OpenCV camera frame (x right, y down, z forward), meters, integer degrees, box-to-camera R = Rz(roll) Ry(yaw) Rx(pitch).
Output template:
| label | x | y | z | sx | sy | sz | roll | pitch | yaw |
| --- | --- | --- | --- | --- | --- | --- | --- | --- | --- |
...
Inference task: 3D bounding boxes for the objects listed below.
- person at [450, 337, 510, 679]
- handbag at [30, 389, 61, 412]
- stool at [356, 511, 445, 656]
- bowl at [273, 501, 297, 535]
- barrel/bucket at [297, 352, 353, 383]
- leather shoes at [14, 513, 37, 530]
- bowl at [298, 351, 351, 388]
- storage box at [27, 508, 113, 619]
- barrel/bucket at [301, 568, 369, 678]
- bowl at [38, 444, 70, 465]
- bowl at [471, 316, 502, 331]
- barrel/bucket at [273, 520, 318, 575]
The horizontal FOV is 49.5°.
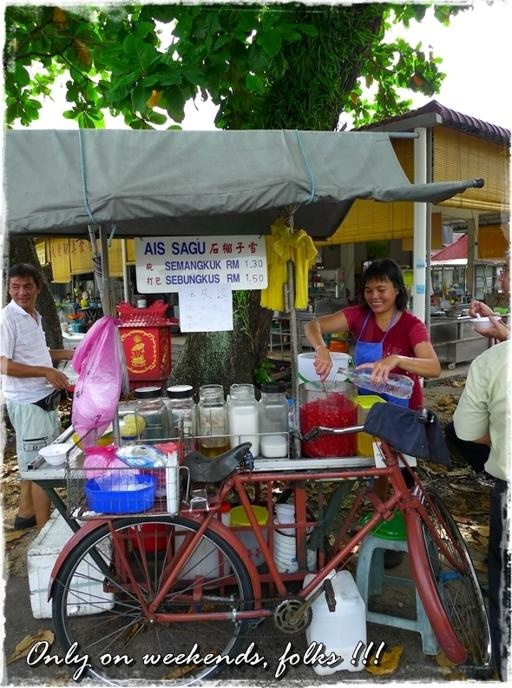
| label | x | y | z | sx | sy | sz | roll | pitch | yaw |
| --- | --- | --- | --- | --- | --- | --- | --- | --- | --- |
| person | 1.146 | 0.786 | 2.690 | 0.199 | 1.618 | 0.460 | -4 | 11 | -8 |
| handbag | -1.473 | 0.412 | 3.929 | 0.156 | 0.065 | 0.107 | -4 | 23 | -7 |
| stool | 0.818 | 1.288 | 3.115 | 0.500 | 0.583 | 0.485 | -4 | 5 | 29 |
| bowl | 0.167 | 1.018 | 3.222 | 0.143 | 0.107 | 0.150 | 0 | -2 | 0 |
| barrel/bucket | 0.429 | 0.163 | 3.706 | 0.253 | 0.240 | 0.253 | 0 | 2 | 0 |
| leather shoes | -1.824 | 1.408 | 4.389 | 0.181 | 0.063 | 0.095 | 10 | -9 | -41 |
| bowl | 0.459 | 0.175 | 3.663 | 0.263 | 0.239 | 0.238 | 0 | 5 | -5 |
| storage box | -1.120 | 1.356 | 3.334 | 0.546 | 0.368 | 0.758 | 0 | 0 | -9 |
| barrel/bucket | 0.399 | 1.442 | 2.831 | 0.319 | 0.534 | 0.569 | -2 | 2 | 3 |
| bowl | -1.051 | 0.575 | 2.948 | 0.111 | 0.043 | 0.112 | 0 | 6 | 0 |
| bowl | 1.230 | -0.114 | 3.054 | 0.097 | 0.058 | 0.159 | 0 | 10 | 8 |
| barrel/bucket | 0.207 | 1.167 | 3.244 | 0.269 | 0.268 | 0.262 | -1 | -2 | 0 |
